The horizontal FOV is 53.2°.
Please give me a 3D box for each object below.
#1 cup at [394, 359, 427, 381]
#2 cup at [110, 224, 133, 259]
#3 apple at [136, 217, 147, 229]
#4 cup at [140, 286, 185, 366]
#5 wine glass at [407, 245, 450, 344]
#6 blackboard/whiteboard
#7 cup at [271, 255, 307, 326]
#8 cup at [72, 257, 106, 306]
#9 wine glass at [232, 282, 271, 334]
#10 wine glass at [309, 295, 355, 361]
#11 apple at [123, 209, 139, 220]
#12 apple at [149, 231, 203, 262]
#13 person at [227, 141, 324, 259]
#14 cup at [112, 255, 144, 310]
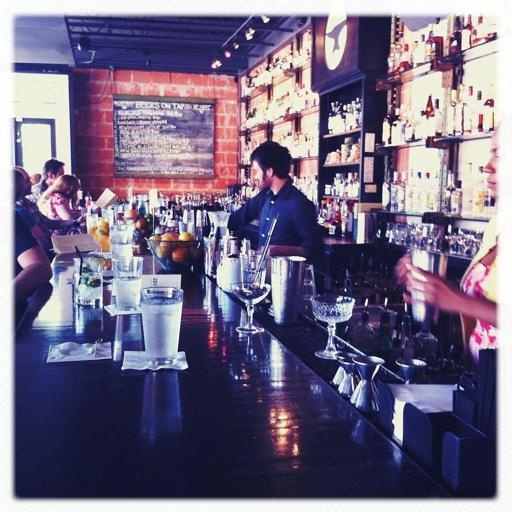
[{"bbox_3d":[0.340,0.239,1.117,0.040,0.038,0.048,0,-2,-3],"label":"cup"},{"bbox_3d":[-0.714,-0.059,2.722,0.118,0.245,0.129,3,13,-1],"label":"cup"},{"bbox_3d":[-0.750,-0.217,3.312,0.050,0.068,0.059,0,9,-4],"label":"apple"},{"bbox_3d":[-0.221,0.159,1.220,0.113,0.182,0.126,-5,19,-25],"label":"cup"},{"bbox_3d":[0.503,0.111,1.523,0.076,0.300,0.085,-4,12,-10],"label":"wine glass"},{"bbox_3d":[-1.491,-1.876,7.893,0.991,1.019,0.048,-1,4,-11],"label":"blackboard/whiteboard"},{"bbox_3d":[0.082,0.104,1.635,0.096,0.213,0.168,-6,11,-39],"label":"cup"},{"bbox_3d":[-0.588,0.085,1.781,0.100,0.168,0.121,-1,9,-11],"label":"cup"},{"bbox_3d":[-0.017,0.161,1.560,0.102,0.156,0.122,1,-4,-4],"label":"wine glass"},{"bbox_3d":[0.208,0.179,1.396,0.113,0.183,0.118,-13,20,-36],"label":"wine glass"},{"bbox_3d":[-0.852,-0.277,3.475,0.071,0.108,0.073,-1,-4,43],"label":"apple"},{"bbox_3d":[-0.398,-0.039,2.456,0.243,0.142,0.096,1,9,0],"label":"apple"},{"bbox_3d":[0.113,-0.410,3.497,0.410,0.733,0.967,-5,11,-33],"label":"person"},{"bbox_3d":[-0.444,0.081,1.761,0.090,0.183,0.195,-2,10,-17],"label":"cup"}]
